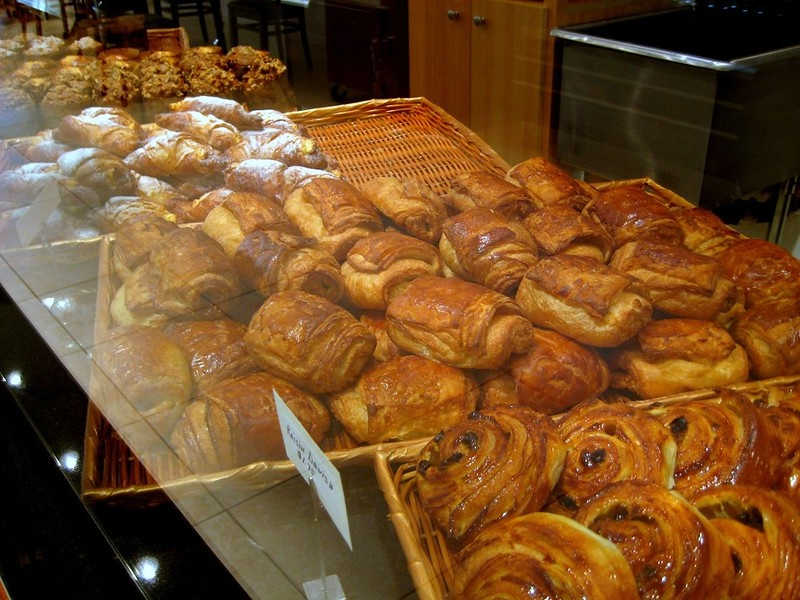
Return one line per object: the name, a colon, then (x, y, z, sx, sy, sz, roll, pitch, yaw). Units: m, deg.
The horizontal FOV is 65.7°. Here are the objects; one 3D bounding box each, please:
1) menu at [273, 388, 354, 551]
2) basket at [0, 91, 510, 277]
menu: (-0.155, 0.298, 1.067, 0.024, 0.146, 0.225, -22, 49, -19)
basket: (-0.356, -0.486, 1.794, 1.077, 0.264, 0.637, -8, 26, -13)
